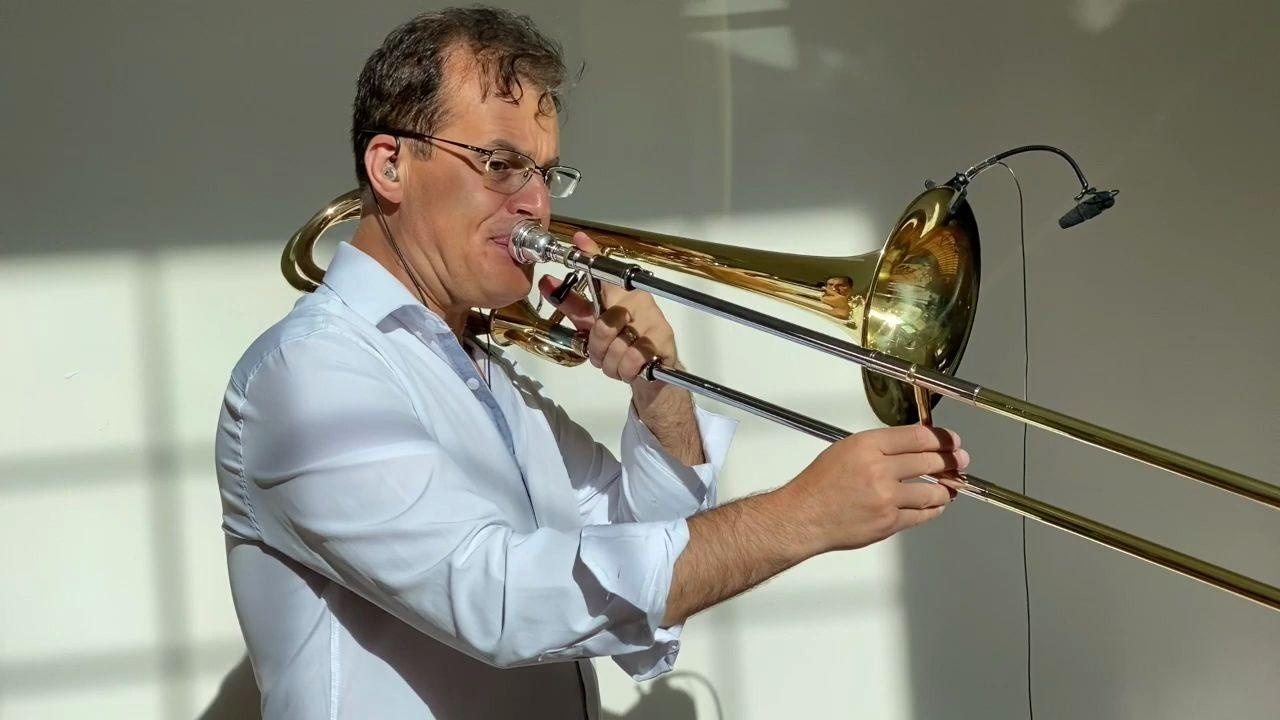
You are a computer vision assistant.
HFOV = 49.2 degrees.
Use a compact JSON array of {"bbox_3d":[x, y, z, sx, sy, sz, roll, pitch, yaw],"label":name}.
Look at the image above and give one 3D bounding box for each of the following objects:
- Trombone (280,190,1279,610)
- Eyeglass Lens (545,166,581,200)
[{"bbox_3d":[0.337,0.133,4.124,2.339,0.738,0.637,22,6,7],"label":"Trombone"},{"bbox_3d":[-0.212,-0.490,3.807,0.081,0.041,0.098,7,14,-36],"label":"Eyeglass Lens"}]
